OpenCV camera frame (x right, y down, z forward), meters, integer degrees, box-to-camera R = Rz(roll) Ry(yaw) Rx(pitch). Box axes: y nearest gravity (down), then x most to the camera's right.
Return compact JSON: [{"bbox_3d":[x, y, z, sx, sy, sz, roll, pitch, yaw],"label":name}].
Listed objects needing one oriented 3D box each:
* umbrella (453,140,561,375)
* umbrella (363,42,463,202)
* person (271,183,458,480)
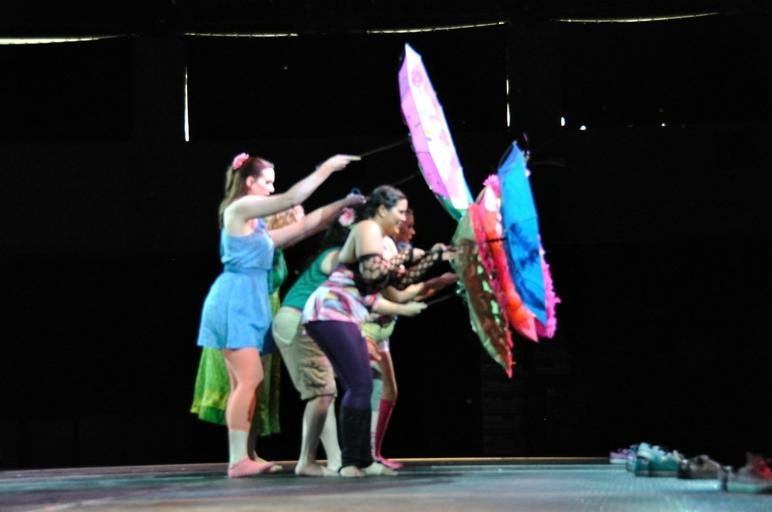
[{"bbox_3d":[0.659,0.018,5.157,0.557,1.327,0.351,-2,-7,14],"label":"umbrella"},{"bbox_3d":[0.274,-0.762,5.321,0.275,0.973,0.516,-5,-8,32],"label":"umbrella"},{"bbox_3d":[-0.165,0.440,5.316,0.824,1.704,0.398,-1,-7,8],"label":"person"}]
